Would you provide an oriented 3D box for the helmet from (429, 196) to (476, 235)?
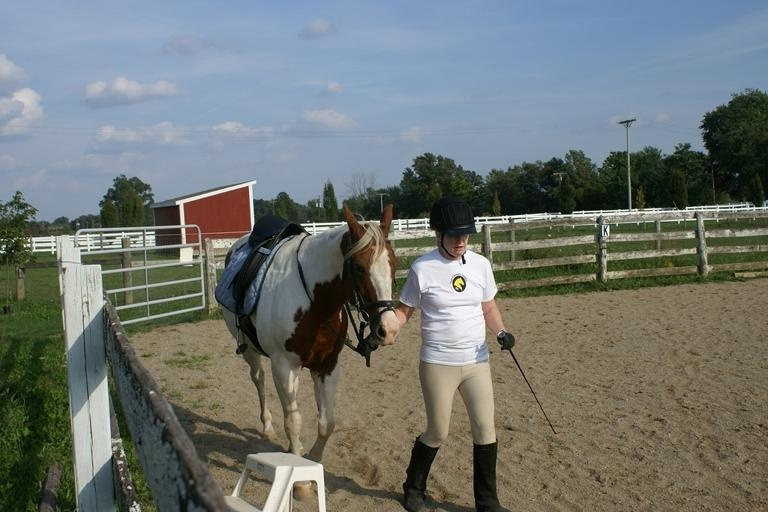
[{"bbox_3d":[0.691,-0.406,6.879,0.449,0.396,0.260,-4,3,5],"label":"helmet"}]
